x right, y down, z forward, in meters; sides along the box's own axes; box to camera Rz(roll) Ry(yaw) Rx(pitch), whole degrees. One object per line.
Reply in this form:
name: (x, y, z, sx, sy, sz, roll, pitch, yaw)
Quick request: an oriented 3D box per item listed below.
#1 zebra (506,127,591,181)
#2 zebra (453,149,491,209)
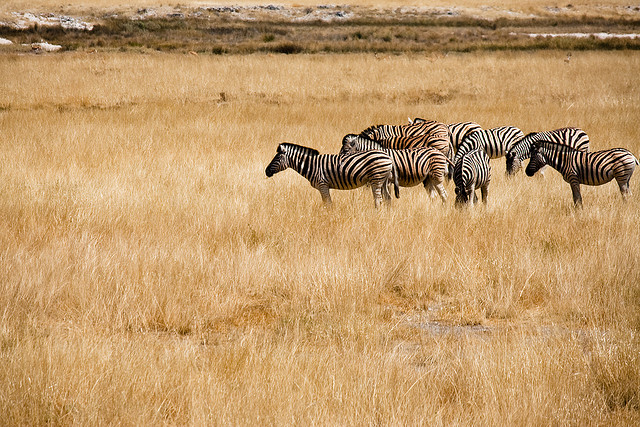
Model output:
zebra: (7.047, -1.785, 28.462, 2.214, 1.315, 0.688, -15, 26, 2)
zebra: (4.445, -1.152, 26.707, 0.595, 1.298, 2.355, 2, 21, 14)
